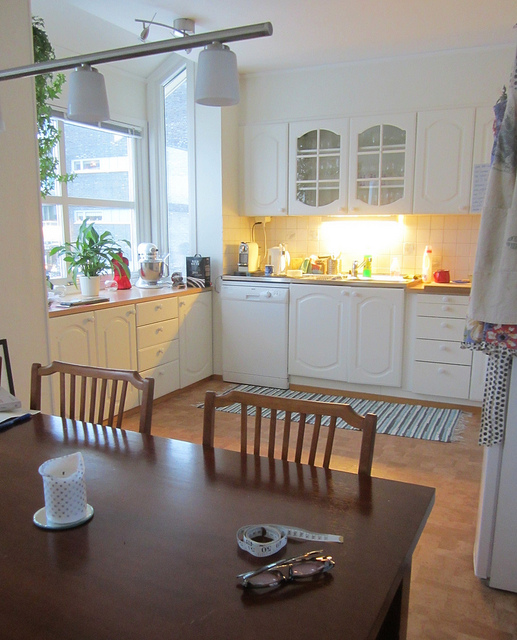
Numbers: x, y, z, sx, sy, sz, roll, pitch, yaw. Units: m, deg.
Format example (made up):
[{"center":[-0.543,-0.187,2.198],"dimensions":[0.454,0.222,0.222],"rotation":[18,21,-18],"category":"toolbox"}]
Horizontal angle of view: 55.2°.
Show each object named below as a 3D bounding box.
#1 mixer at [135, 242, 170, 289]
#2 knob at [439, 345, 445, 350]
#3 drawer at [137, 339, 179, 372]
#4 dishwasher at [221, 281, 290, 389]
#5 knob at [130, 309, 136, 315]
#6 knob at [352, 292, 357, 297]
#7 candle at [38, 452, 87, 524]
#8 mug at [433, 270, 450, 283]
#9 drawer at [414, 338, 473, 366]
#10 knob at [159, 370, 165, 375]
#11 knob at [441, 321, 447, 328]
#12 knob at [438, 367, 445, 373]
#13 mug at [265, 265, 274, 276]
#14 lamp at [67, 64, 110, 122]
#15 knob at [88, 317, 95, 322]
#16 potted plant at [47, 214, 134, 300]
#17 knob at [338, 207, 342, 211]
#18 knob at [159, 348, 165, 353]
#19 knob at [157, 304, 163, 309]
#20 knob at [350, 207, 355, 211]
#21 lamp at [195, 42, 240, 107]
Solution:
[{"center":[-0.888,-0.461,4.212],"dimensions":[0.289,0.370,0.353],"rotation":[-5,9,-28],"category":"mixer"},{"center":[1.357,0.205,3.631],"dimensions":[0.028,0.016,0.028],"rotation":[-15,12,-35],"category":"knob"},{"center":[-0.762,0.259,3.747],"dimensions":[0.187,0.161,0.371],"rotation":[15,23,36],"category":"drawer"},{"center":[0.064,0.080,4.548],"dimensions":[0.615,0.914,0.592],"rotation":[5,13,21],"category":"dishwasher"},{"center":[-0.875,-0.057,3.451],"dimensions":[0.031,0.010,0.030],"rotation":[0,4,10],"category":"knob"},{"center":[0.755,-0.203,3.869],"dimensions":[0.030,0.030,0.010],"rotation":[-43,-3,10],"category":"knob"},{"center":[-0.354,0.303,0.920],"dimensions":[0.107,0.126,0.104],"rotation":[-1,4,0],"category":"candle"},{"center":[1.446,-0.332,3.885],"dimensions":[0.125,0.080,0.078],"rotation":[2,8,20],"category":"mug"},{"center":[1.400,0.175,3.799],"dimensions":[0.440,0.220,0.348],"rotation":[4,11,9],"category":"drawer"},{"center":[-0.741,0.404,3.816],"dimensions":[0.035,0.025,0.047],"rotation":[11,11,5],"category":"knob"},{"center":[1.360,0.033,3.615],"dimensions":[0.048,0.046,0.014],"rotation":[4,2,14],"category":"knob"},{"center":[1.361,0.371,3.671],"dimensions":[0.041,0.039,0.018],"rotation":[1,9,10],"category":"knob"},{"center":[0.097,-0.431,4.338],"dimensions":[0.086,0.081,0.085],"rotation":[-7,14,-40],"category":"mug"},{"center":[-0.436,-0.588,1.310],"dimensions":[0.085,0.143,0.114],"rotation":[1,16,2],"category":"lamp"},{"center":[-1.056,-0.001,3.126],"dimensions":[0.014,0.031,0.043],"rotation":[1,8,10],"category":"knob"},{"center":[-1.123,-0.438,3.388],"dimensions":[0.425,0.385,0.431],"rotation":[-10,-4,42],"category":"potted plant"},{"center":[0.682,-0.925,4.124],"dimensions":[0.022,0.028,0.031],"rotation":[5,7,34],"category":"knob"},{"center":[-0.737,0.232,3.787],"dimensions":[0.028,0.028,0.053],"rotation":[29,-3,-17],"category":"knob"},{"center":[-0.740,-0.099,3.726],"dimensions":[0.019,0.022,0.034],"rotation":[4,7,21],"category":"knob"},{"center":[0.778,-0.914,4.081],"dimensions":[0.038,0.026,0.010],"rotation":[7,11,42],"category":"knob"},{"center":[-0.102,-0.597,1.210],"dimensions":[0.106,0.124,0.299],"rotation":[-1,8,-5],"category":"lamp"}]
